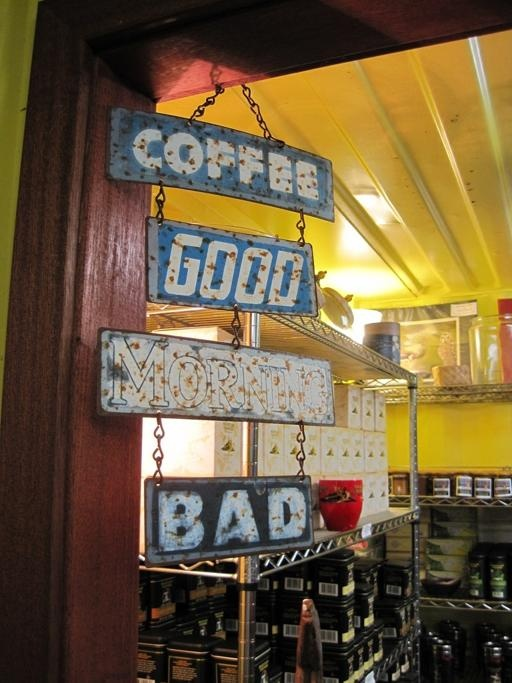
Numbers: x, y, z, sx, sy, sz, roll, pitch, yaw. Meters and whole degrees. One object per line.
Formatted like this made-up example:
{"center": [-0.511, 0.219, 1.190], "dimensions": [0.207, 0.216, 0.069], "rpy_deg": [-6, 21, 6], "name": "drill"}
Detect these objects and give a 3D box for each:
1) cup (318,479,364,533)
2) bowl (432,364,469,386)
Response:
{"center": [0.216, 0.422, 1.826], "dimensions": [0.132, 0.134, 0.127], "rpy_deg": [0, -19, 0], "name": "cup"}
{"center": [0.829, 0.142, 3.025], "dimensions": [0.105, 0.056, 0.099], "rpy_deg": [-1, -2, 0], "name": "bowl"}
